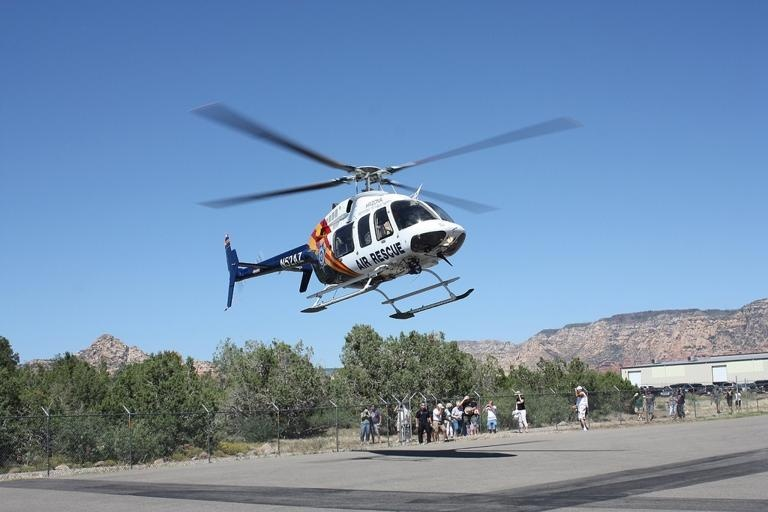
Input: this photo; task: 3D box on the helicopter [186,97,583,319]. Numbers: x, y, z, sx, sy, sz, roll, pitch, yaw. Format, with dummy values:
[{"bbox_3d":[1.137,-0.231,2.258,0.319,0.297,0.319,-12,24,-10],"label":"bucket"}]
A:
[{"bbox_3d":[-0.217,-1.151,35.777,11.748,3.969,11.284,-19,-22,41],"label":"helicopter"}]
